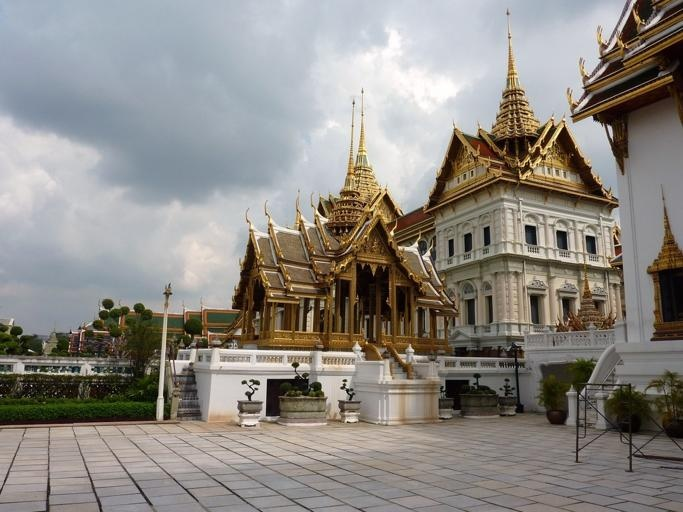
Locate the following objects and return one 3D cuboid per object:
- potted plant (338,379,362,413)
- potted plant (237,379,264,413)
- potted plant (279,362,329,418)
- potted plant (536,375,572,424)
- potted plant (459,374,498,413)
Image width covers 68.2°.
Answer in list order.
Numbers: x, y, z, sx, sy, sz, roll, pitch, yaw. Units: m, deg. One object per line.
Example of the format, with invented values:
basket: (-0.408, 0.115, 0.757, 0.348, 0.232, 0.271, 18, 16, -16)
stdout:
potted plant: (0.264, 4.913, 17.659, 0.969, 1.320, 0.818, 0, -19, 2)
potted plant: (-3.014, 4.555, 16.515, 0.736, 1.014, 1.589, 4, -9, -11)
potted plant: (-1.361, 4.579, 16.986, 1.526, 2.098, 1.632, 12, -23, -30)
potted plant: (7.769, 5.203, 18.394, 1.035, 1.590, 2.082, -2, -10, 22)
potted plant: (5.361, 5.503, 19.894, 1.254, 1.586, 1.044, 11, -13, -43)
